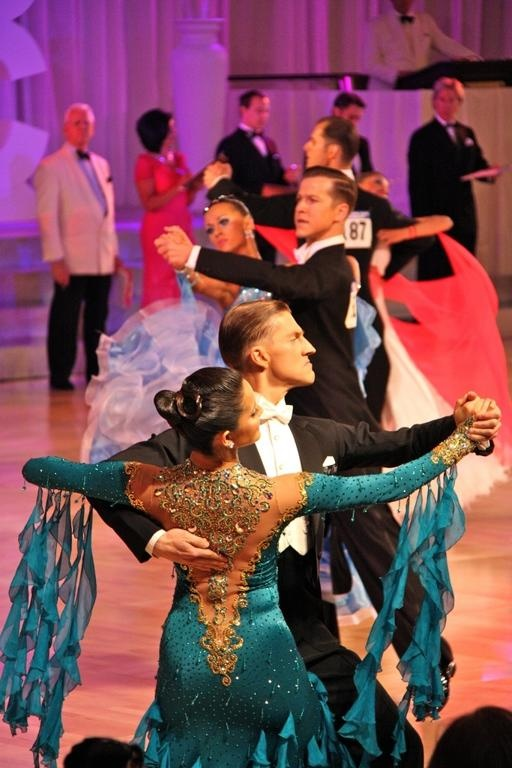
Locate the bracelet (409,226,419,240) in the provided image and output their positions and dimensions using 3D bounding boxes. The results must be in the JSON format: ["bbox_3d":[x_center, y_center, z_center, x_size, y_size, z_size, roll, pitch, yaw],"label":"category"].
[{"bbox_3d":[0.702,-0.668,3.538,0.020,0.050,0.038,2,11,-2],"label":"bracelet"}]

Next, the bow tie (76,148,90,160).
[{"bbox_3d":[-1.414,-1.872,6.525,0.083,0.072,0.022,-3,5,-40],"label":"bow tie"}]
